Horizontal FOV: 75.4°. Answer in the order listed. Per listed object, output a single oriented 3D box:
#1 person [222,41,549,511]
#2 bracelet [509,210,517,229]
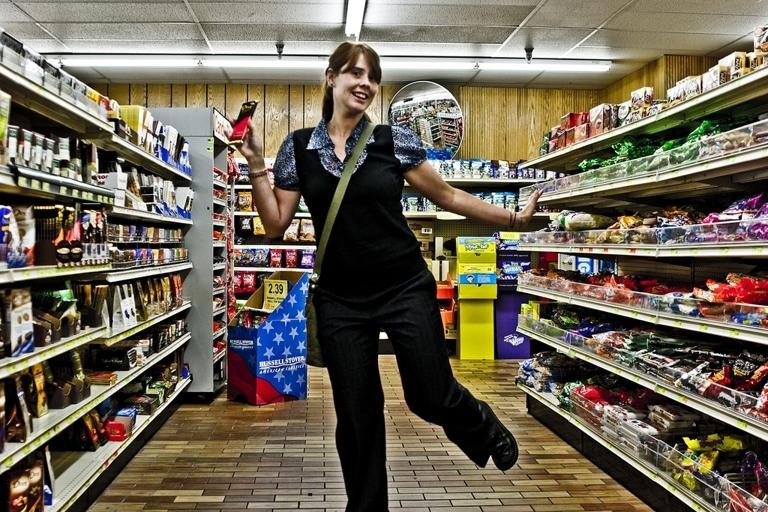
[{"bbox_3d":[-0.005,0.102,2.419,1.219,2.229,0.397,-5,4,-13],"label":"person"},{"bbox_3d":[0.689,-0.187,2.641,0.030,0.080,0.062,8,10,-7],"label":"bracelet"}]
